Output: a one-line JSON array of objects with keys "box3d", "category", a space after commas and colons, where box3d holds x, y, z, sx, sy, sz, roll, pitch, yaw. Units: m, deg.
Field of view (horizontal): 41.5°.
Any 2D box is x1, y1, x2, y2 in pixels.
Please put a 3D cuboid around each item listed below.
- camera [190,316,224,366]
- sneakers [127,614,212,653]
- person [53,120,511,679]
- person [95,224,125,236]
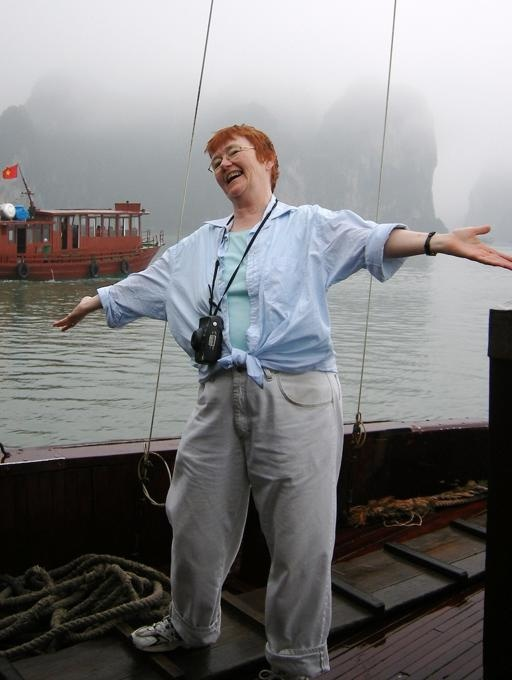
[{"box3d": [-0.105, 0.005, 1.443, 0.064, 0.114, 0.082, -2, 7, -39], "category": "camera"}, {"box3d": [-0.218, 0.715, 1.646, 0.221, 0.083, 0.072, 2, -2, -1], "category": "sneakers"}, {"box3d": [0.022, 0.140, 1.483, 0.340, 1.231, 0.909, -2, 7, -39], "category": "person"}, {"box3d": [-4.822, -3.569, 22.049, 0.788, 0.612, 0.168, -1, 2, -13], "category": "person"}]
